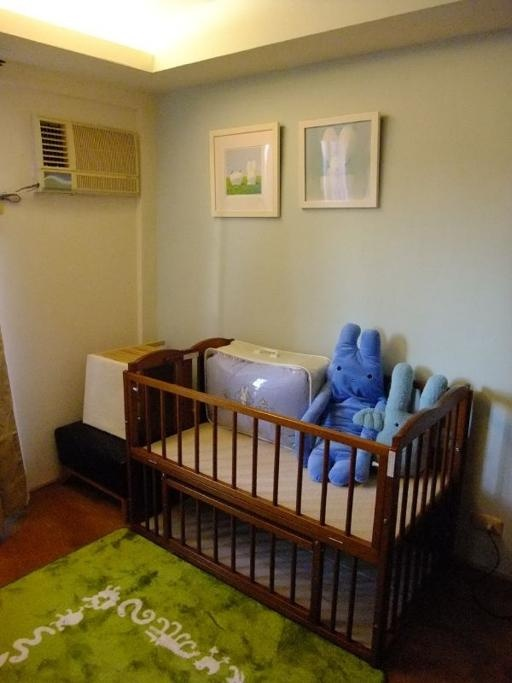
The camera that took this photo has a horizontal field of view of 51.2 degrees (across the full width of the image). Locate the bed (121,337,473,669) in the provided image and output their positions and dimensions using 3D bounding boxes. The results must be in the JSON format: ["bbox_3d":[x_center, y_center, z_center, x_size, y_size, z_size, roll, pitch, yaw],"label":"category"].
[{"bbox_3d":[0.118,0.509,2.154,1.210,0.784,0.754,12,17,41],"label":"bed"}]

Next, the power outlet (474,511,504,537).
[{"bbox_3d":[0.872,0.679,1.997,0.037,0.088,0.088,-26,32,-23],"label":"power outlet"}]

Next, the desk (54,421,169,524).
[{"bbox_3d":[-0.650,0.551,2.441,0.593,0.311,0.336,21,33,29],"label":"desk"}]

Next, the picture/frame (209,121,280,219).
[{"bbox_3d":[-0.041,-0.796,2.446,0.438,0.456,0.018,7,15,39],"label":"picture/frame"}]
